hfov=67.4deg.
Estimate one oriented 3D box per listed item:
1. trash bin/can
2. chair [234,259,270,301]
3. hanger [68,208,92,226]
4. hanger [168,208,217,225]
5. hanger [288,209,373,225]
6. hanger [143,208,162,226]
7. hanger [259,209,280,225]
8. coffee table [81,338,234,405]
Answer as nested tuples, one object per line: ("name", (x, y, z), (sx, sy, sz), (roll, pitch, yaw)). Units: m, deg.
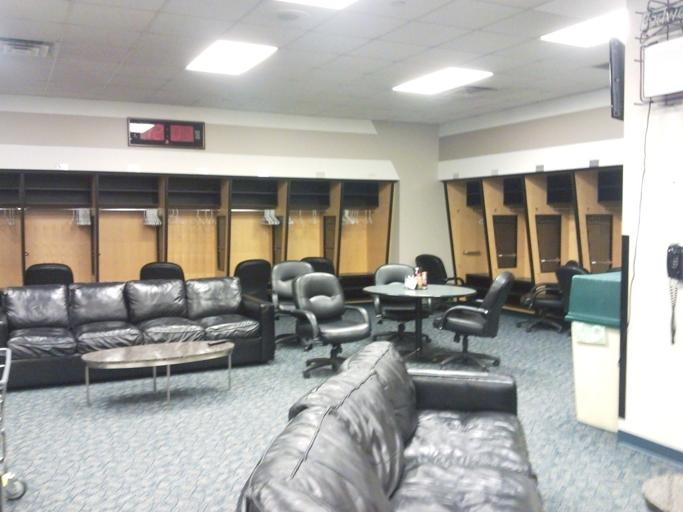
("trash bin/can", (2.189, 0.843, 4.441), (0.471, 1.297, 0.210), (6, 11, 36))
("chair", (-1.288, 0.368, 7.732), (0.562, 0.765, 0.675), (-1, 2, -31))
("hanger", (-4.228, -0.640, 8.358), (0.285, 0.372, 0.298), (-1, 5, -11))
("hanger", (-2.639, -0.702, 9.117), (0.807, 0.262, 0.102), (-3, 9, -22))
("hanger", (-0.107, -0.760, 10.236), (1.661, 0.331, 0.343), (-4, 9, -25))
("hanger", (-3.162, -0.657, 8.636), (0.293, 0.281, 0.294), (-1, 4, 1))
("hanger", (-1.325, -0.694, 9.439), (0.311, 0.321, 0.303), (1, -5, -22))
("coffee table", (-1.849, 1.156, 5.251), (1.440, 0.547, 1.064), (-2, 8, -16))
